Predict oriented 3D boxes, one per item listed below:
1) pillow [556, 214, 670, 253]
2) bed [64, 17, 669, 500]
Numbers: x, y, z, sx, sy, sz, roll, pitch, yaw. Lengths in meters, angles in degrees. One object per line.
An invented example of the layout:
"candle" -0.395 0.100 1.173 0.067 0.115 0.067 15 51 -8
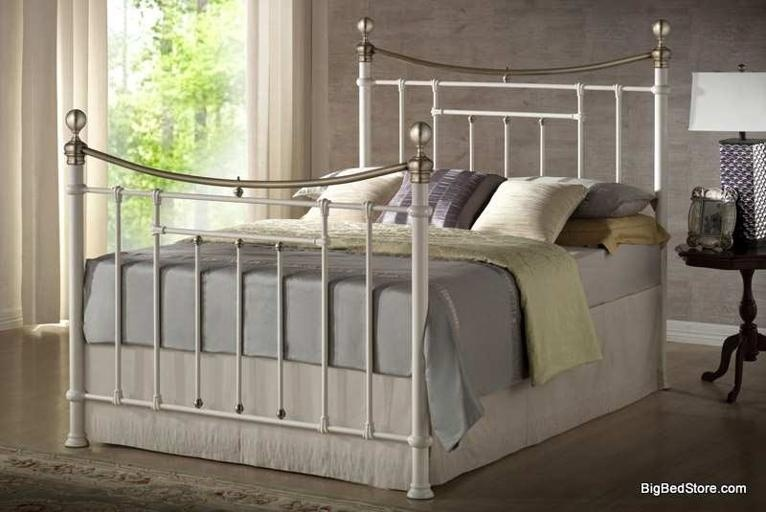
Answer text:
"pillow" 1.026 -0.104 4.162 0.277 0.071 0.290 5 12 38
"bed" 0.082 -0.020 4.259 2.012 1.614 2.630 1 5 40
